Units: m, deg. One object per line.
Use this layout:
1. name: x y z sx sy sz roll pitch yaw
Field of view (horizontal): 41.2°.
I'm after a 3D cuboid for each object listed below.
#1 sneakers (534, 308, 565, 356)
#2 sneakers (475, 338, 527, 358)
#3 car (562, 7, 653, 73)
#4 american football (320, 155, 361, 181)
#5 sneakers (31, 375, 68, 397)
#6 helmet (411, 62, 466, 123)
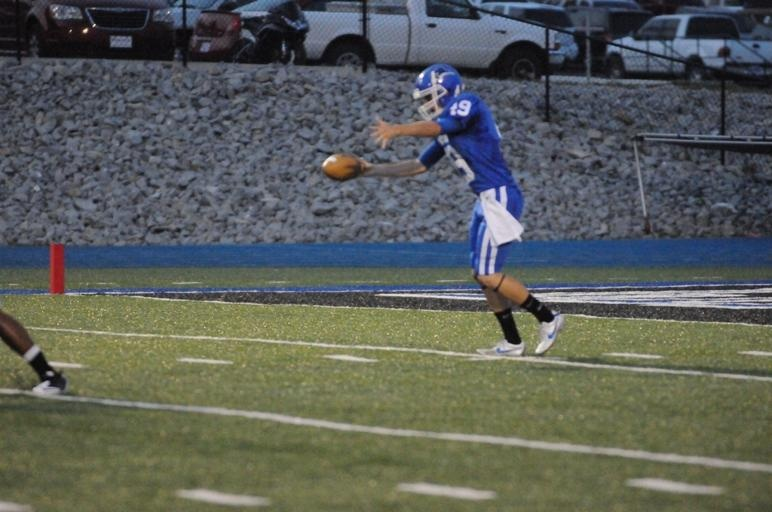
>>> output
1. sneakers: 1.533 0.726 9.797 0.217 0.486 0.169 23 3 -15
2. sneakers: 1.088 0.870 9.767 0.489 0.184 0.160 2 -6 7
3. car: 6.570 -6.298 30.637 3.540 1.907 2.087 -6 22 -7
4. american football: -0.442 -0.824 9.717 0.311 0.172 0.235 5 30 -24
5. sneakers: -2.765 1.074 8.450 0.273 0.151 0.132 4 11 1
6. helmet: 0.469 -1.609 10.049 0.562 0.515 0.465 -24 6 2
